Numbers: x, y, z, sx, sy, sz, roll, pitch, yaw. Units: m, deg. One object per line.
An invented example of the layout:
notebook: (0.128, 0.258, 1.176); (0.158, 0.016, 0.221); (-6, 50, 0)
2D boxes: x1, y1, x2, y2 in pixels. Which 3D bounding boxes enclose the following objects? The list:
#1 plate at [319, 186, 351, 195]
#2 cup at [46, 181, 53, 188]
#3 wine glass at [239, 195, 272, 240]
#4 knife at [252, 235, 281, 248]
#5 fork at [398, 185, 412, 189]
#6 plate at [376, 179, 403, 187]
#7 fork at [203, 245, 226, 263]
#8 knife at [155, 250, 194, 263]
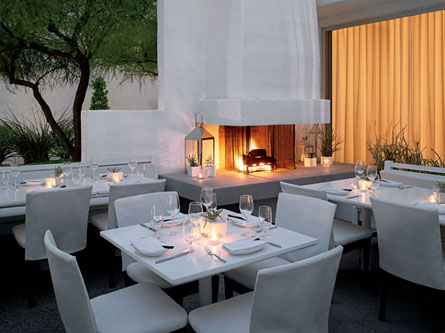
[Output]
plate: (1.051, 0.211, 2.856); (0.134, 0.052, 0.223); (-3, 9, -33)
cup: (-1.694, 0.171, 3.084); (0.056, 0.045, 0.058); (2, 8, 0)
wine glass: (0.222, 0.294, 1.947); (0.238, 0.247, 0.237); (2, 9, 33)
knife: (0.250, 0.428, 1.762); (0.175, 0.023, 0.055); (23, 5, 17)
fork: (1.809, 0.206, 3.103); (0.140, 0.029, 0.027); (0, 3, -35)
plate: (1.700, 0.173, 3.167); (0.155, 0.038, 0.116); (9, 12, 42)
fork: (-0.040, 0.456, 1.613); (0.038, 0.033, 0.267); (-7, 9, -23)
knife: (-0.245, 0.462, 1.590); (0.176, 0.010, 0.025); (-6, 18, -43)
